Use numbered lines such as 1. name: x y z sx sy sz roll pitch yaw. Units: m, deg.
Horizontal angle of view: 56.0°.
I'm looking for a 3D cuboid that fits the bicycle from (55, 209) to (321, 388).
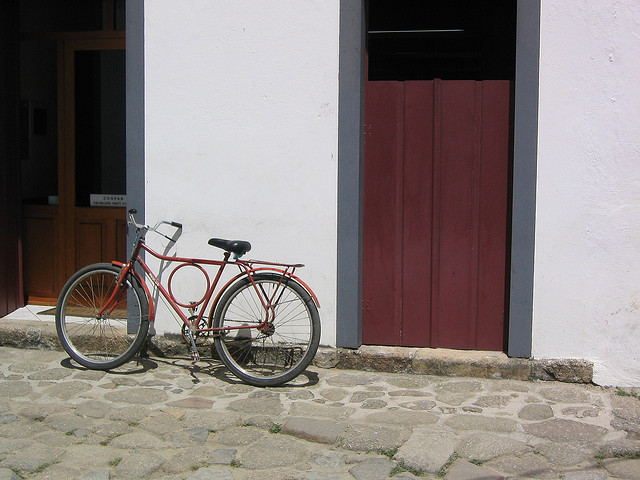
1. bicycle: -1.264 0.545 5.622 2.601 1.474 0.746 3 0 8
